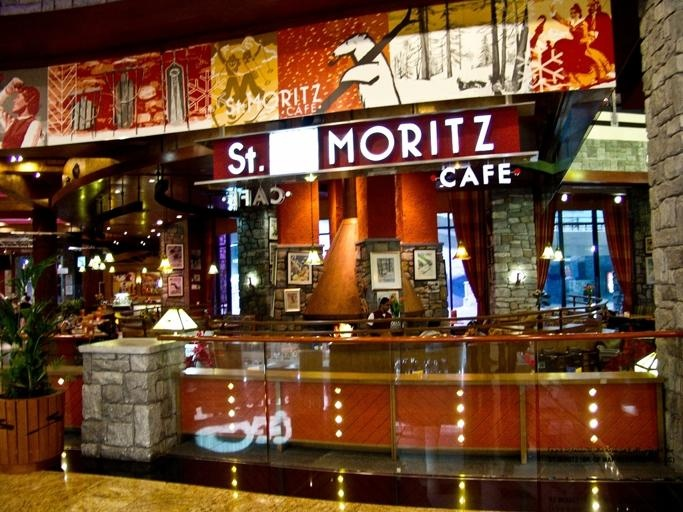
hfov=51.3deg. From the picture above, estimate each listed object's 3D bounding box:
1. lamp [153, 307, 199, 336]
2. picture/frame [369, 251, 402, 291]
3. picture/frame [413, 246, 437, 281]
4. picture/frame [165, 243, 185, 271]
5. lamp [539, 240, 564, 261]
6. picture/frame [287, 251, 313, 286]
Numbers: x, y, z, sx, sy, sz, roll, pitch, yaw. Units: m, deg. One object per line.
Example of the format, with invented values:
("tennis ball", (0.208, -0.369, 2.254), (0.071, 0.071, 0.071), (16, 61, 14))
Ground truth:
("lamp", (-2.230, 0.900, 9.706), (0.418, 0.243, 0.412), (2, 4, 10))
("picture/frame", (0.782, 0.296, 13.324), (0.713, 0.870, 0.088), (0, -5, -18))
("picture/frame", (1.703, 0.179, 14.819), (0.674, 0.860, 0.071), (2, -14, -16))
("picture/frame", (-5.053, 0.046, 21.598), (0.774, 1.127, 0.073), (-1, -3, 0))
("lamp", (5.240, -0.150, 17.925), (0.553, 0.617, 0.568), (-1, -5, 2))
("picture/frame", (-1.000, 0.267, 16.333), (0.783, 0.996, 0.063), (1, -5, -29))
